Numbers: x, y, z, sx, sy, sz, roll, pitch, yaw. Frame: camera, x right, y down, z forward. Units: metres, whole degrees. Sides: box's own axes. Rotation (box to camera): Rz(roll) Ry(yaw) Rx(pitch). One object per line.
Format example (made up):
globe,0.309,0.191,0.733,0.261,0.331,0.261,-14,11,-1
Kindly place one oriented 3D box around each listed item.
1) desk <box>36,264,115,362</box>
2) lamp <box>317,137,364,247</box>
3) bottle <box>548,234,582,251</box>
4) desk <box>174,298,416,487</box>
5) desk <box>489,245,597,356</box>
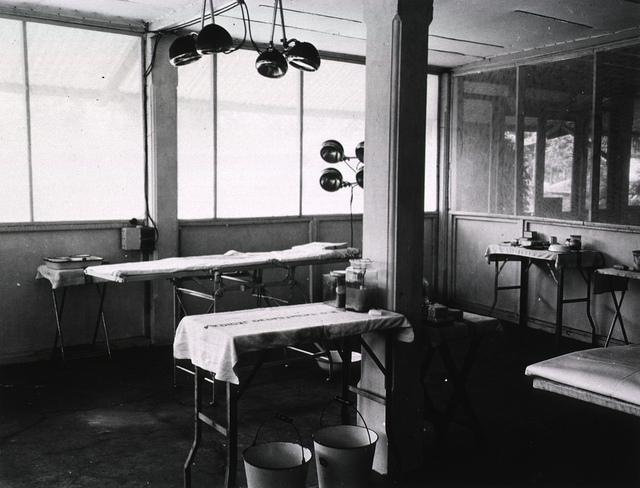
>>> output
desk,-2.900,0.732,6.793,0.863,1.358,1.020,-2,3,-39
lamp,0.333,-0.744,8.555,0.589,1.597,1.116,-1,6,3
bottle,3.125,0.000,7.451,0.326,0.149,0.249,-5,6,-21
desk,-0.316,0.729,4.641,1.995,1.562,1.232,-3,7,-36
desk,2.996,0.645,7.965,0.872,1.265,1.412,-2,5,-24
